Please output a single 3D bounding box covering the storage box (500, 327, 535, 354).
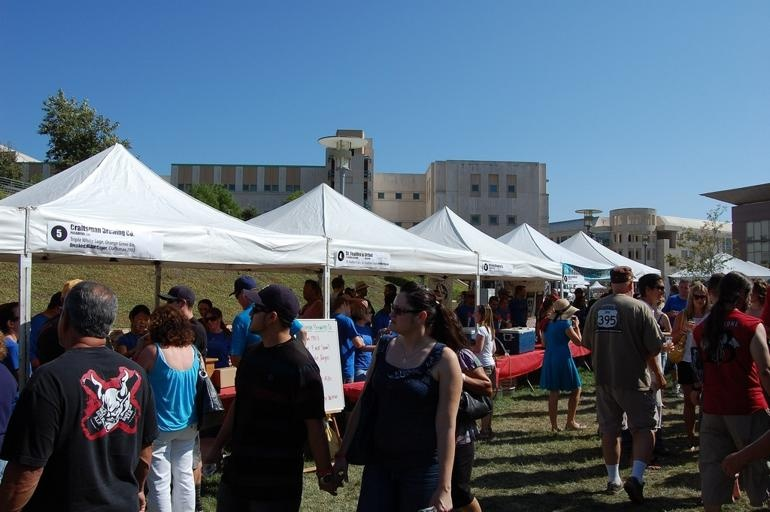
[{"bbox_3d":[2.424,1.452,14.139,0.417,0.385,0.710,2,1,37],"label":"storage box"}]

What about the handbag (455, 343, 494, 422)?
[{"bbox_3d":[0.808,1.153,6.771,0.292,0.629,0.418,1,4,5],"label":"handbag"}]

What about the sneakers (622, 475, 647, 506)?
[{"bbox_3d":[2.800,2.617,8.381,0.140,0.404,0.192,-10,34,49],"label":"sneakers"}]

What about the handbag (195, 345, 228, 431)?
[{"bbox_3d":[-1.728,1.351,7.534,0.252,0.767,0.404,-1,4,-13],"label":"handbag"}]

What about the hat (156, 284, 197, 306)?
[{"bbox_3d":[-2.210,0.410,8.203,0.316,0.183,0.237,7,-8,-18],"label":"hat"}]

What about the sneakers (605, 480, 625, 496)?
[{"bbox_3d":[2.651,2.642,8.761,0.194,0.139,0.201,2,5,15],"label":"sneakers"}]

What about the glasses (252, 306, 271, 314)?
[{"bbox_3d":[-1.019,0.446,6.357,0.153,0.068,0.028,1,4,11],"label":"glasses"}]

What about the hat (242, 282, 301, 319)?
[{"bbox_3d":[-0.932,0.381,6.470,0.370,0.207,0.266,18,2,1],"label":"hat"}]

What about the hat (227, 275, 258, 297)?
[{"bbox_3d":[-1.610,0.322,8.612,0.454,0.266,0.304,-4,-3,45],"label":"hat"}]

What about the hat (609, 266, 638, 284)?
[{"bbox_3d":[2.774,0.215,8.876,0.238,0.194,0.317,2,5,18],"label":"hat"}]

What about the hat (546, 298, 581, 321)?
[{"bbox_3d":[2.656,0.857,11.366,0.317,0.184,0.338,-31,2,-43],"label":"hat"}]
